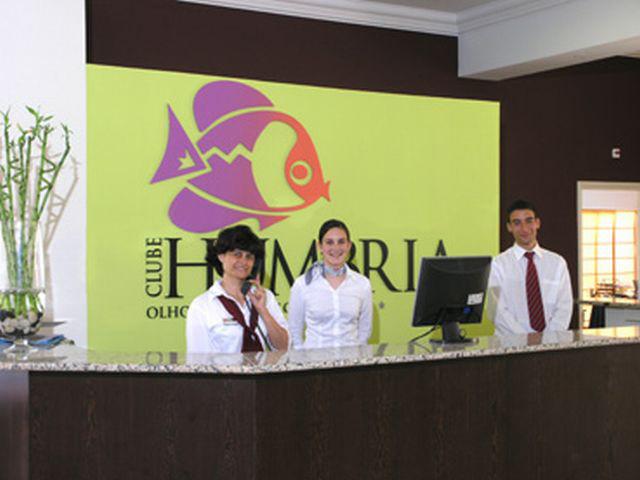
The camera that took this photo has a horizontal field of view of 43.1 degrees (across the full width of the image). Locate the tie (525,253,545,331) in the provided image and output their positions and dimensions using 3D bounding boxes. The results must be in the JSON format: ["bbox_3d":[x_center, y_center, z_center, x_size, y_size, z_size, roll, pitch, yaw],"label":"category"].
[{"bbox_3d":[1.779,0.425,6.724,0.155,0.641,0.173,-1,-1,15],"label":"tie"}]

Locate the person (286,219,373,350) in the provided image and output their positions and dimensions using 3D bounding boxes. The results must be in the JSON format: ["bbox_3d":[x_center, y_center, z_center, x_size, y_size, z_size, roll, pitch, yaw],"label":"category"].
[{"bbox_3d":[0.074,0.344,6.311,0.645,0.987,0.318,-1,-1,2],"label":"person"}]

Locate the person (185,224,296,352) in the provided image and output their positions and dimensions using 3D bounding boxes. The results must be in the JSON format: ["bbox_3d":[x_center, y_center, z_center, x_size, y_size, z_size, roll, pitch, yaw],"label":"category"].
[{"bbox_3d":[-0.506,0.299,5.065,0.593,0.781,0.242,-1,-1,11],"label":"person"}]
